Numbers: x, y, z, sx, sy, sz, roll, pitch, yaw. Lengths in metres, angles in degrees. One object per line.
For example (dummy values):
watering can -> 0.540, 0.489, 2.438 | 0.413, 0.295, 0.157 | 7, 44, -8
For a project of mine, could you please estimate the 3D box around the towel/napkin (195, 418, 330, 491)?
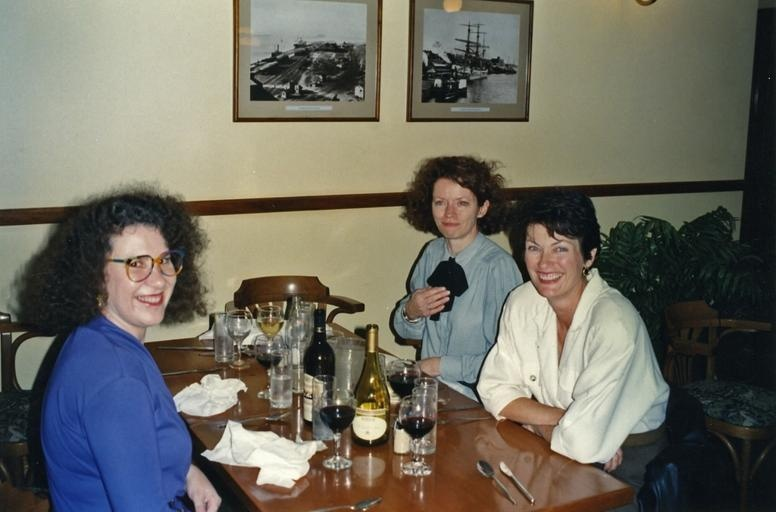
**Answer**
towel/napkin -> -0.485, 0.773, 2.648 | 0.304, 0.088, 0.250 | 14, 26, 25

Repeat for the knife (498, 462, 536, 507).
knife -> 0.495, 0.867, 2.562 | 0.050, 0.024, 0.193 | -3, 23, -22

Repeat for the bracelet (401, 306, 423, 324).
bracelet -> 0.140, 0.333, 3.890 | 0.096, 0.037, 0.094 | 31, -15, -27

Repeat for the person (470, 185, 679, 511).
person -> 0.897, 0.331, 3.816 | 1.244, 1.954, 1.180 | -2, 1, -22

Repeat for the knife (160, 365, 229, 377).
knife -> -0.940, 0.557, 3.276 | 0.273, 0.032, 0.101 | -1, 20, -9
